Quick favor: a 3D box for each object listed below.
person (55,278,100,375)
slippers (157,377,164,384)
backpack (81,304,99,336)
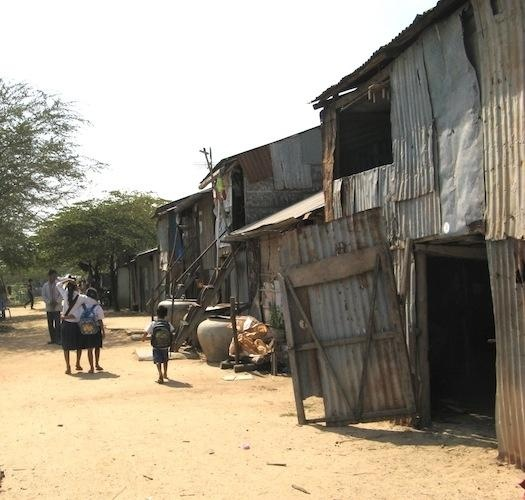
[{"bbox_3d":[-3.193,1.343,14.755,0.717,1.762,1.099,-3,7,-14],"label":"person"},{"bbox_3d":[-1.646,2.148,13.559,0.114,0.137,0.078,4,-11,-13],"label":"slippers"},{"bbox_3d":[-2.955,1.214,14.375,0.409,0.561,0.152,-7,9,-44],"label":"backpack"}]
